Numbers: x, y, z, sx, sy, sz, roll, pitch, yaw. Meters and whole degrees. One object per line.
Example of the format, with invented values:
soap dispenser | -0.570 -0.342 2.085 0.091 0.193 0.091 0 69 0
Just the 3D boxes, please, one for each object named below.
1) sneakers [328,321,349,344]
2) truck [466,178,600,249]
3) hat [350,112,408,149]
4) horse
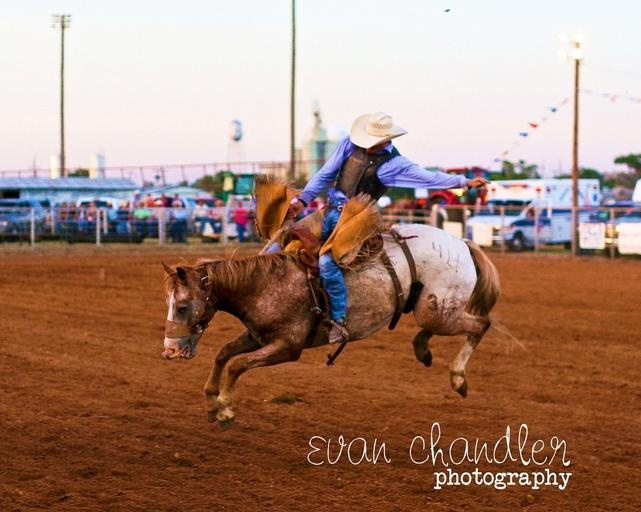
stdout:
sneakers | 0.160 0.731 9.817 0.244 0.224 0.165 -1 8 12
truck | 5.881 -1.127 25.647 3.748 1.778 2.696 -2 1 -40
hat | 0.547 -1.231 10.043 0.539 0.348 0.229 1 13 1
horse | 0.255 0.656 10.352 3.586 1.666 0.875 -9 17 -19
